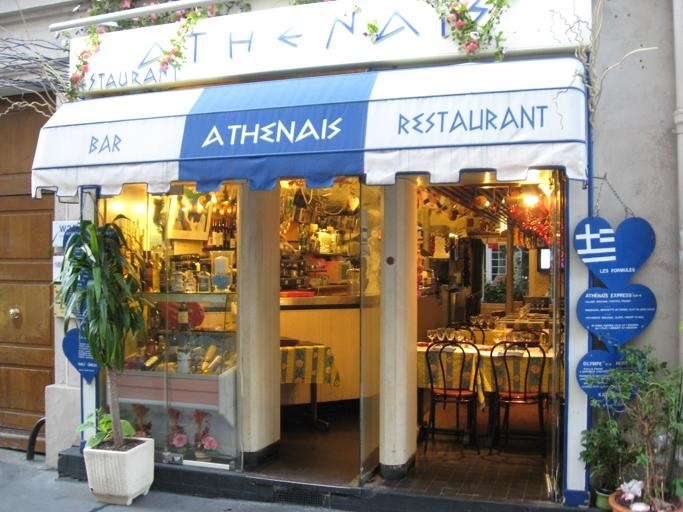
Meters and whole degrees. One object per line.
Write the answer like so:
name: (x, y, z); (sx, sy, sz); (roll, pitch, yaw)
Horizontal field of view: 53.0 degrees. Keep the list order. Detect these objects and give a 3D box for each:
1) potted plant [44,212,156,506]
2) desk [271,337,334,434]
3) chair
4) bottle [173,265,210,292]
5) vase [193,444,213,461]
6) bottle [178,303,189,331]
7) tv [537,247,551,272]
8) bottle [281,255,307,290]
potted plant: (-2.293, 0.979, 6.729); (0.869, 2.803, 0.815); (-1, -5, 2)
desk: (-0.258, 1.559, 8.240); (1.042, 0.880, 1.092); (6, -6, 4)
chair: (1.651, 1.440, 7.943); (1.336, 1.028, 1.362); (0, 0, 8)
bottle: (-1.559, 0.277, 7.138); (0.404, 0.277, 0.221); (0, -7, -1)
vase: (-1.395, 2.000, 6.936); (0.155, 0.174, 0.180); (3, 2, 42)
bottle: (-1.626, 0.635, 7.068); (0.119, 0.269, 0.028); (-3, -5, 24)
tv: (5.817, 0.142, 19.497); (0.300, 0.622, 0.690); (-3, -6, 26)
bottle: (-0.687, 0.231, 9.888); (0.434, 0.404, 0.442); (-4, -3, 42)
